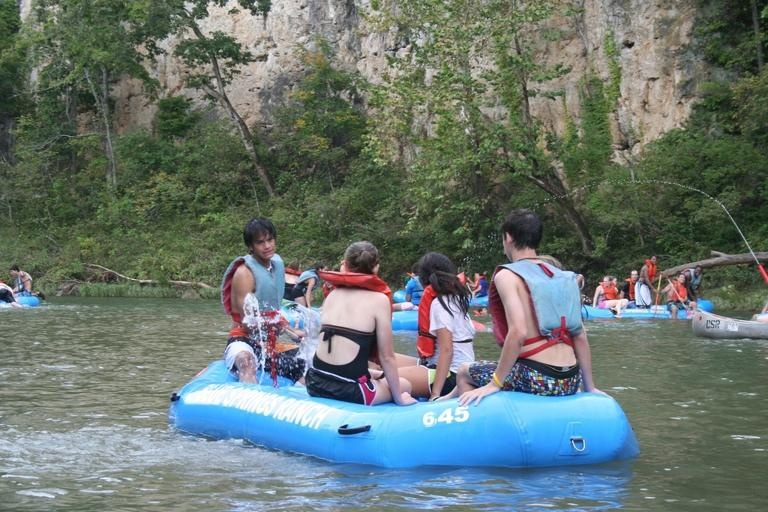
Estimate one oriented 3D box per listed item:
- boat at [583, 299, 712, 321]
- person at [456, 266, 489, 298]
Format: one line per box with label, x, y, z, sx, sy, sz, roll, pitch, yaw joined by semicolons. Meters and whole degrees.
boat;8.242;1.726;29.823;3.873;0.654;1.949;-2;-5;12
person;3.346;0.736;33.480;1.016;0.908;1.685;0;6;-19
